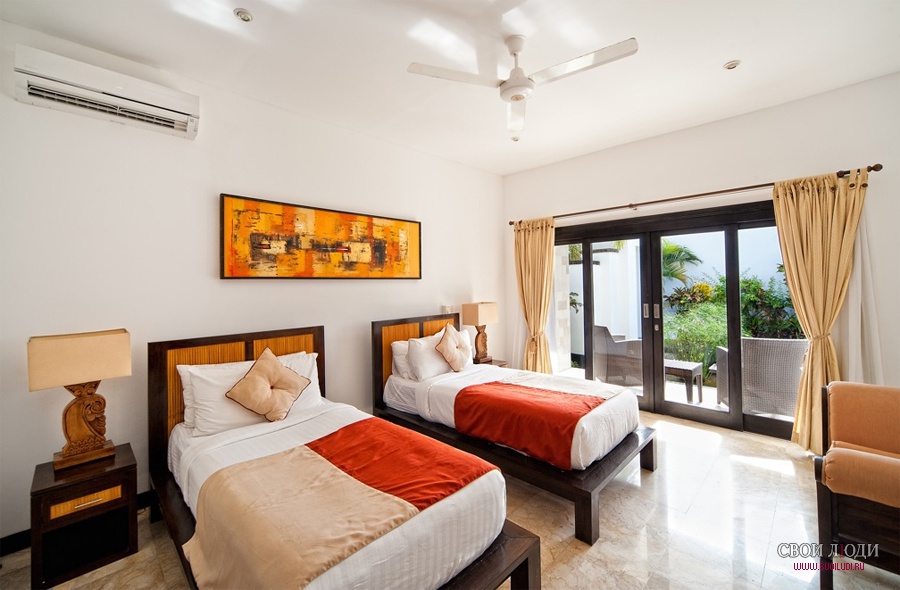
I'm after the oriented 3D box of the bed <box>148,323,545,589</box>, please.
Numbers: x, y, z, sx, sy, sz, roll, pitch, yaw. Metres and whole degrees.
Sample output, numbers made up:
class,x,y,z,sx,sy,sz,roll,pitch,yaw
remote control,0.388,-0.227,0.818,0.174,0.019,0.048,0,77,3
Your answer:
class,x,y,z,sx,sy,sz,roll,pitch,yaw
bed,-0.974,1.322,4.658,2.594,1.999,2.543,-1,0,-33

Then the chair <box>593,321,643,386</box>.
class,x,y,z,sx,sy,sz,roll,pitch,yaw
chair,2.326,0.762,7.355,0.651,0.834,0.660,5,6,39

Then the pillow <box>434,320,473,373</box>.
class,x,y,z,sx,sy,sz,roll,pitch,yaw
pillow,0.047,0.584,6.529,0.135,0.481,0.515,4,-28,35

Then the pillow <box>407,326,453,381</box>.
class,x,y,z,sx,sy,sz,roll,pitch,yaw
pillow,-0.252,0.667,6.173,0.136,0.446,0.471,-23,-10,36

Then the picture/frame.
class,x,y,z,sx,sy,sz,roll,pitch,yaw
picture/frame,-1.319,-0.565,6.043,2.247,0.785,0.035,1,-5,-34

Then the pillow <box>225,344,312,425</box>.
class,x,y,z,sx,sy,sz,roll,pitch,yaw
pillow,-1.812,0.851,5.088,0.550,0.155,0.591,30,31,0

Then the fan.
class,x,y,z,sx,sy,sz,roll,pitch,yaw
fan,0.622,-1.985,4.763,1.778,0.562,0.641,-1,0,8

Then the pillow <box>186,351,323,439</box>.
class,x,y,z,sx,sy,sz,roll,pitch,yaw
pillow,-1.877,0.869,5.168,1.128,0.705,0.502,-1,1,-38
